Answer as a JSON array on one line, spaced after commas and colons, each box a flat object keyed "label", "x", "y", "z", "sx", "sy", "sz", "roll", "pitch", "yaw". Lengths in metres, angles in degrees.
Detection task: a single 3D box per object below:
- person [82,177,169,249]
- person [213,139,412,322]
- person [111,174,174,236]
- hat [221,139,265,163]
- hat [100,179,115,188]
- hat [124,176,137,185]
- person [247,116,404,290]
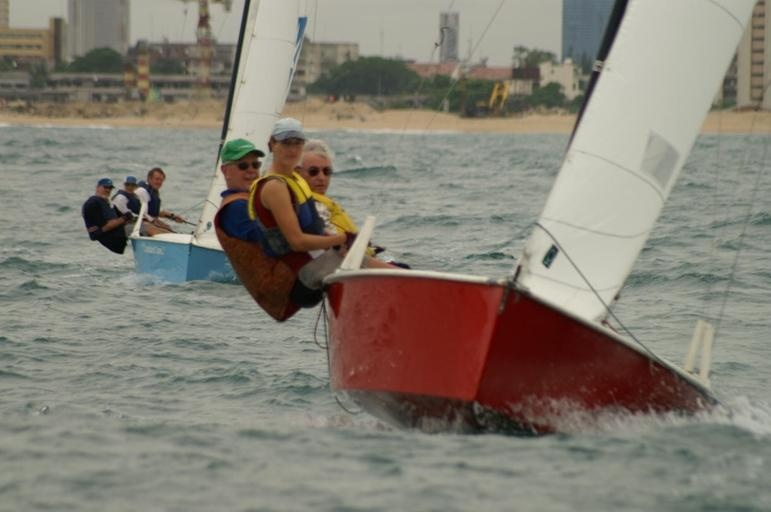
[{"label": "person", "x": -3.106, "y": -0.378, "z": 13.203, "sx": 0.725, "sy": 1.113, "sz": 0.493, "roll": -12, "pitch": 17, "yaw": -23}, {"label": "person", "x": -0.307, "y": -0.244, "z": 7.845, "sx": 1.777, "sy": 1.300, "sz": 0.742, "roll": 6, "pitch": 7, "yaw": 17}, {"label": "person", "x": -2.694, "y": -0.593, "z": 13.272, "sx": 1.086, "sy": 0.593, "sz": 0.516, "roll": 13, "pitch": 13, "yaw": 26}, {"label": "hat", "x": -1.017, "y": -0.737, "z": 7.924, "sx": 0.183, "sy": 0.115, "sz": 0.250, "roll": -11, "pitch": 0, "yaw": -43}, {"label": "hat", "x": -3.234, "y": -0.892, "z": 13.201, "sx": 0.135, "sy": 0.101, "sz": 0.187, "roll": 5, "pitch": -3, "yaw": -42}, {"label": "hat", "x": -2.999, "y": -0.943, "z": 13.495, "sx": 0.130, "sy": 0.095, "sz": 0.185, "roll": 6, "pitch": -8, "yaw": -18}, {"label": "person", "x": -0.264, "y": -0.318, "z": 7.979, "sx": 1.522, "sy": 1.135, "sz": 0.688, "roll": 8, "pitch": 3, "yaw": -14}]
